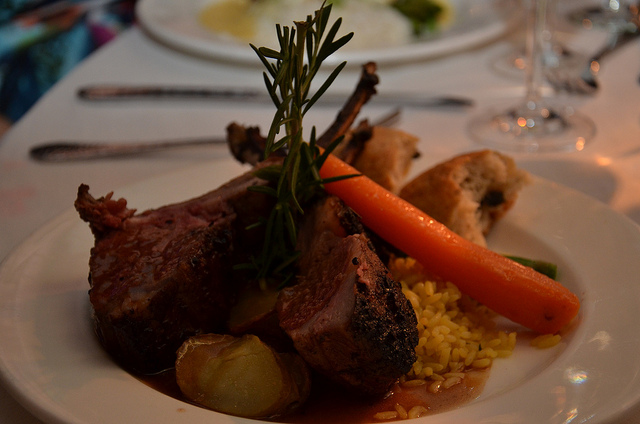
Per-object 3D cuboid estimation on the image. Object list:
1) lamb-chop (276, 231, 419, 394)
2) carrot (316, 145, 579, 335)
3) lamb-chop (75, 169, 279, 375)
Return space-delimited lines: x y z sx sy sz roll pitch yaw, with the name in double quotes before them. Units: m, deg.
"lamb-chop" 0.094 0.327 1.758 0.382 0.155 0.568 -2 47 -5
"carrot" 0.465 0.110 2.123 1.082 0.197 0.168 33 79 24
"lamb-chop" -0.389 0.082 2.222 0.534 0.399 1.103 33 48 29
